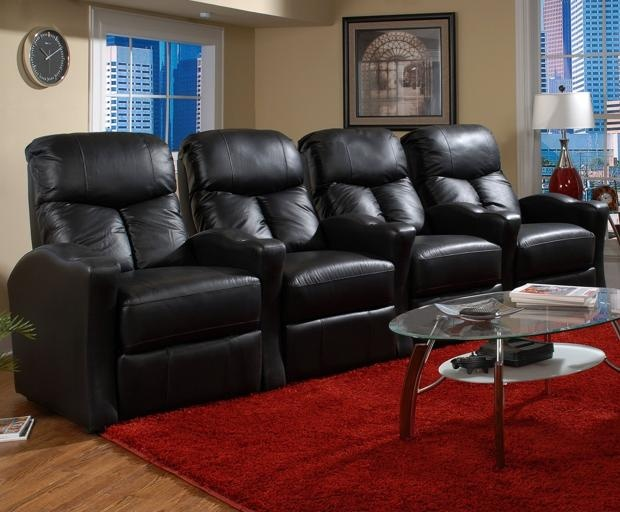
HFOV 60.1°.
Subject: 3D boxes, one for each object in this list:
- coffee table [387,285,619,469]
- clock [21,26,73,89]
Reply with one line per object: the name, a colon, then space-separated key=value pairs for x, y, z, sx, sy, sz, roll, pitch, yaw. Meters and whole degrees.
coffee table: x=0.602 y=0.236 z=1.762 sx=0.931 sy=0.361 sz=0.493 roll=-8 pitch=7 yaw=-42
clock: x=-1.921 y=-1.390 z=3.879 sx=0.407 sy=0.366 sz=0.368 roll=1 pitch=1 yaw=33
